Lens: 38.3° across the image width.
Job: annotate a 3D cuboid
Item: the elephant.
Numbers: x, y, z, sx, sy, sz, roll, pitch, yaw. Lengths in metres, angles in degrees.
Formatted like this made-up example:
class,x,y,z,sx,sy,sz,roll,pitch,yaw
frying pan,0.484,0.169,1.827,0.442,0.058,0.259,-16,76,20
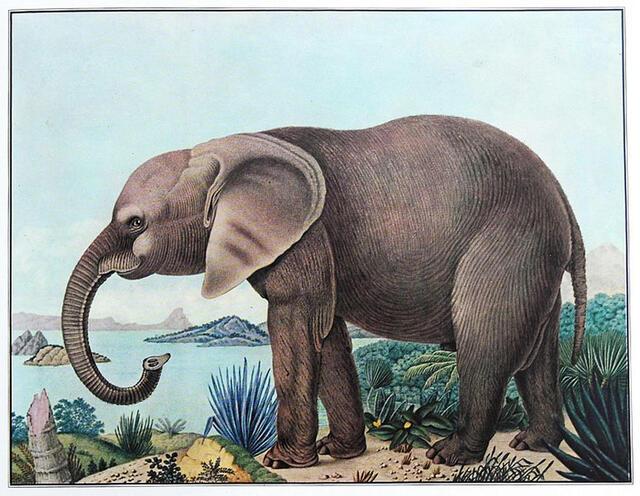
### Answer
class,x,y,z,sx,sy,sz,roll,pitch,yaw
elephant,0.000,0.228,4.919,2.811,1.880,1.092,0,3,6
